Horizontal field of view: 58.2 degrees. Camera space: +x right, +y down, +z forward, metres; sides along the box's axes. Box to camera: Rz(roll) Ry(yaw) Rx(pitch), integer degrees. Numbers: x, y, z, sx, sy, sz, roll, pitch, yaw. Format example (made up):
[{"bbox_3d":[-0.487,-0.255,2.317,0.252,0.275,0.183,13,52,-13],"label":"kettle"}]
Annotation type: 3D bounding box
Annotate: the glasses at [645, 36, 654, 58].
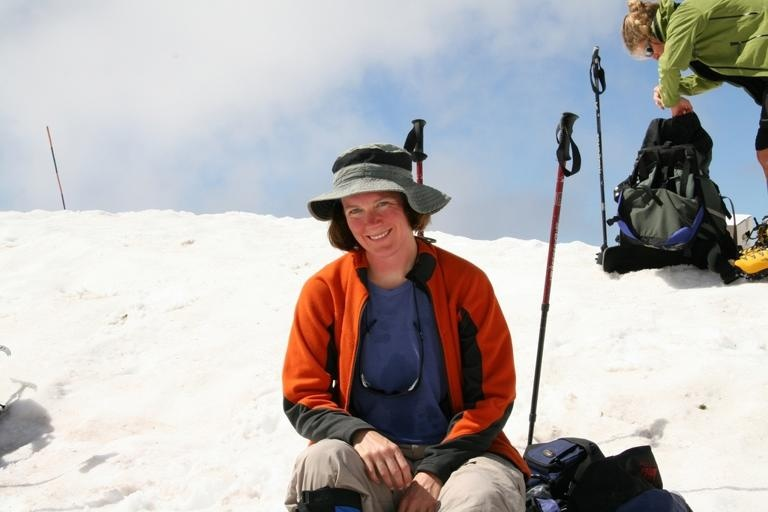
[{"bbox_3d":[3.612,-2.806,9.388,0.064,0.164,0.109,1,-5,-45],"label":"glasses"}]
